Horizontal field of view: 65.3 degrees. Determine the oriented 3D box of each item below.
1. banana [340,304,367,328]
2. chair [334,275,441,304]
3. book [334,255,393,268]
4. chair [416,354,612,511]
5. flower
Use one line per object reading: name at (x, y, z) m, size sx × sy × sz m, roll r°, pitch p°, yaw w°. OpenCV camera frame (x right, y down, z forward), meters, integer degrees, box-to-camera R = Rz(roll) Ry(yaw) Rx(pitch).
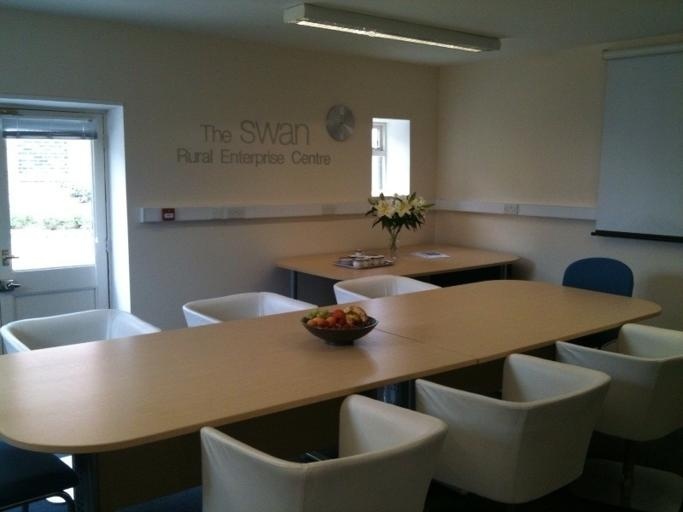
banana at (0.063, 0.308, 2.644) m, size 0.093 × 0.052 × 0.096 m, roll 1°, pitch 27°, yaw -6°
chair at (0.259, 0.231, 4.026) m, size 0.464 × 0.168 × 0.350 m, roll -4°, pitch 9°, yaw -45°
book at (0.223, 0.042, 5.000) m, size 0.548 × 0.111 × 0.385 m, roll -3°, pitch 9°, yaw 2°
chair at (0.707, 0.690, 2.247) m, size 0.621 × 0.484 × 0.787 m, roll 7°, pitch 7°, yaw 43°
flower at (0.540, -0.326, 5.226) m, size 0.505 × 0.455 × 0.503 m, roll -6°, pitch 16°, yaw -35°
